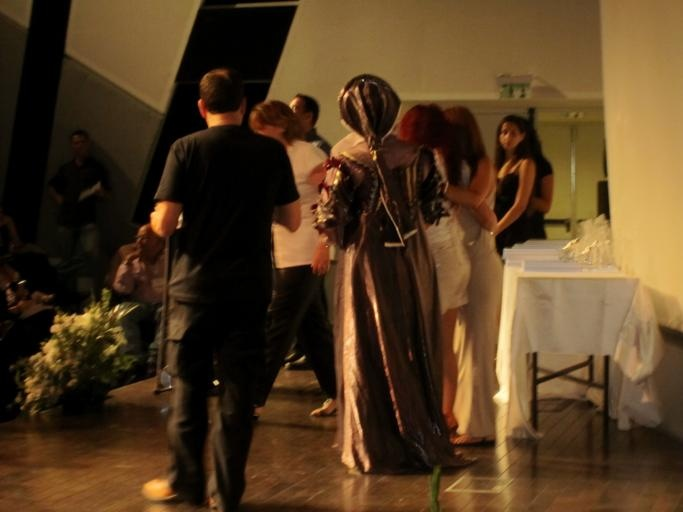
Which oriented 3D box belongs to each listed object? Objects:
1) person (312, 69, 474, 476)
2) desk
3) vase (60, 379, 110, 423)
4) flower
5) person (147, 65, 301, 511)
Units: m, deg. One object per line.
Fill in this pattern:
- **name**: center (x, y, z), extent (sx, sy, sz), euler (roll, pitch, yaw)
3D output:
- **person**: center (0.243, 0.092, 3.063), extent (0.713, 2.001, 0.247), euler (-1, 4, -4)
- **desk**: center (1.368, 0.437, 3.887), extent (0.878, 0.842, 1.274), euler (-1, 9, 11)
- **vase**: center (-1.715, 0.945, 4.039), extent (0.303, 0.224, 0.139), euler (-3, 4, -25)
- **flower**: center (-1.806, 0.649, 4.100), extent (0.715, 0.755, 0.358), euler (-3, 4, -31)
- **person**: center (-0.508, 0.149, 2.641), extent (0.681, 1.941, 0.386), euler (-2, 4, -16)
